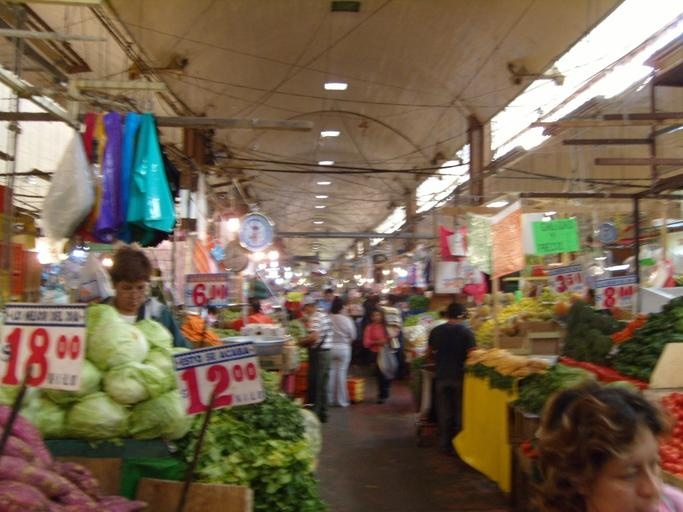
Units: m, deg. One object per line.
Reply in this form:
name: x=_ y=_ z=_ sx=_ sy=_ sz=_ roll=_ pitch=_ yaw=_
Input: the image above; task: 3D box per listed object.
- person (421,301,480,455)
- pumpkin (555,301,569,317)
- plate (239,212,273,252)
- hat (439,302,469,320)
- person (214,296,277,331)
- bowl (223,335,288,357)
person: x=1.402 y=1.519 z=7.276 sx=0.469 sy=1.781 sz=0.807 roll=1 pitch=-3 yaw=-9
pumpkin: x=3.082 y=0.769 z=7.971 sx=0.219 sy=0.150 sz=0.194 roll=4 pitch=-31 yaw=7
plate: x=-1.569 y=-0.398 z=10.418 sx=0.609 sy=0.761 sz=0.271 roll=0 pitch=-3 yaw=-8
hat: x=1.464 y=0.739 z=7.423 sx=0.347 sy=0.226 sz=0.301 roll=-2 pitch=-42 yaw=5
person: x=-1.448 y=0.916 z=8.771 sx=0.807 sy=0.468 sz=0.468 roll=13 pitch=10 yaw=18
bowl: x=-0.886 y=1.010 z=6.514 sx=0.878 sy=0.147 sz=0.757 roll=-2 pitch=-5 yaw=14
